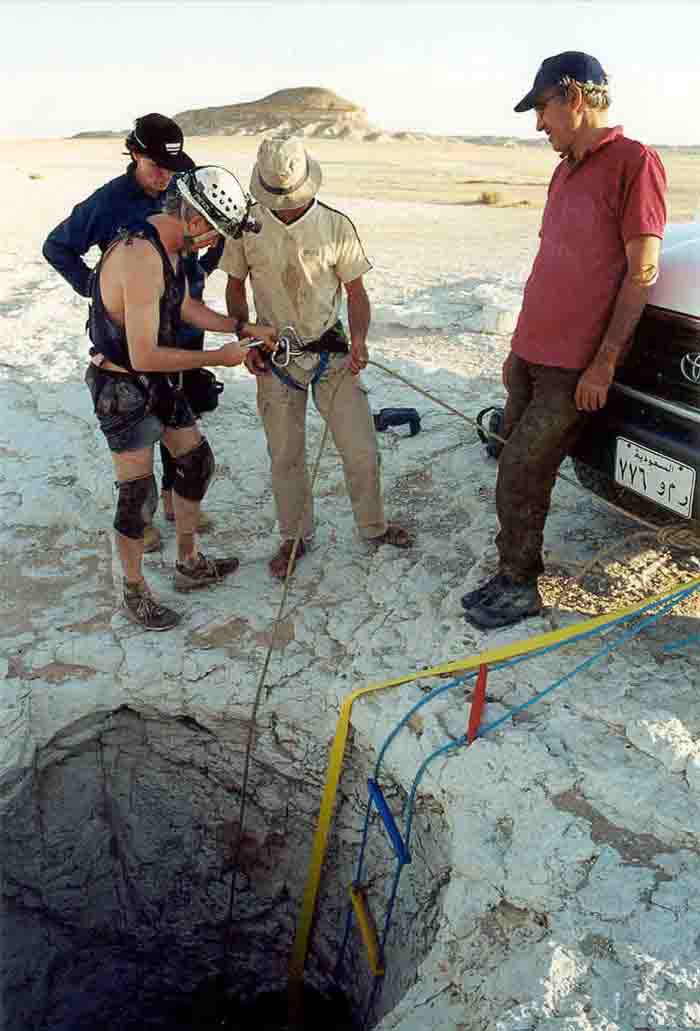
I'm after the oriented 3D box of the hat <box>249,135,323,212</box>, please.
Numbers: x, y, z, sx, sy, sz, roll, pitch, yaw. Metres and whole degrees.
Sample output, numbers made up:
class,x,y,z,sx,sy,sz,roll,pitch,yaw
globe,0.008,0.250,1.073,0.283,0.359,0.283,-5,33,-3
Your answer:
class,x,y,z,sx,sy,sz,roll,pitch,yaw
hat,-0.240,-1.215,2.948,0.247,0.282,0.152,-4,-14,8

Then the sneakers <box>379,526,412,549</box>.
class,x,y,z,sx,sy,sz,roll,pitch,yaw
sneakers,0.221,0.097,3.886,0.166,0.067,0.086,8,49,33

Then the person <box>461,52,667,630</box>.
class,x,y,z,sx,sy,sz,roll,pitch,yaw
person,0.725,-0.483,2.800,0.337,2.007,0.593,-10,23,-26

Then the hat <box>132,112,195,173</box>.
class,x,y,z,sx,sy,sz,roll,pitch,yaw
hat,-0.754,-1.479,3.212,0.249,0.216,0.233,-6,21,-20

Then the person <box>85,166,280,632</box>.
class,x,y,z,sx,sy,sz,roll,pitch,yaw
person,-0.643,-0.370,3.154,0.711,1.806,0.651,-1,20,-6

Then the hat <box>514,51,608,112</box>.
class,x,y,z,sx,sy,sz,roll,pitch,yaw
hat,0.678,-1.393,2.594,0.289,0.156,0.209,7,20,15

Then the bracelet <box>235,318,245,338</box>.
class,x,y,z,sx,sy,sz,roll,pitch,yaw
bracelet,-0.450,-0.766,3.296,0.024,0.046,0.064,0,-10,-9

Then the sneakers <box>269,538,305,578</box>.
class,x,y,z,sx,sy,sz,roll,pitch,yaw
sneakers,-0.296,0.178,3.730,0.126,0.088,0.226,-6,29,31

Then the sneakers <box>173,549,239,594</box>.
class,x,y,z,sx,sy,sz,roll,pitch,yaw
sneakers,-0.653,0.209,3.720,0.340,0.157,0.124,-20,42,-21
